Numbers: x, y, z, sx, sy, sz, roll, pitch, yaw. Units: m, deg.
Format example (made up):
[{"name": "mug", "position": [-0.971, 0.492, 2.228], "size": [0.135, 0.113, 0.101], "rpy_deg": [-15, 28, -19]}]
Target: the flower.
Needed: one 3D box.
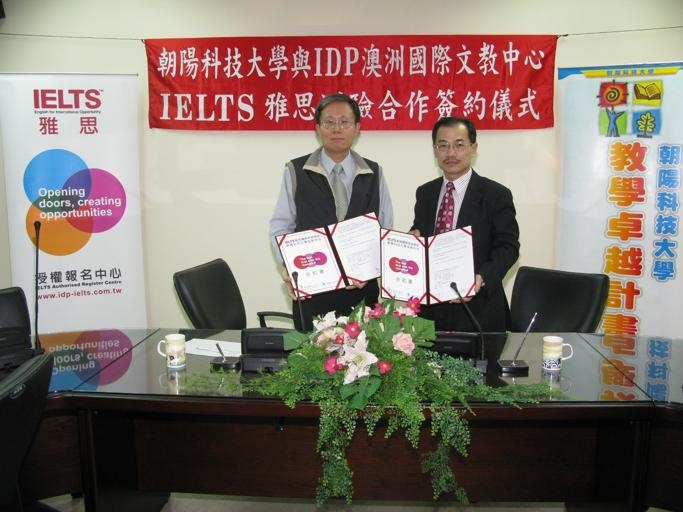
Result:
[{"name": "flower", "position": [0.140, 0.365, 2.198], "size": [1.086, 0.699, 0.736], "rpy_deg": [-2, 14, -32]}]

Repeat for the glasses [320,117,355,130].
[{"name": "glasses", "position": [-0.022, -0.755, 3.193], "size": [0.186, 0.056, 0.048], "rpy_deg": [-2, 14, -6]}]

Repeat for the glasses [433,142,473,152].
[{"name": "glasses", "position": [0.630, -0.620, 3.159], "size": [0.185, 0.054, 0.050], "rpy_deg": [3, 14, 11]}]

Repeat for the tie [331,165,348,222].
[{"name": "tie", "position": [-0.003, -0.373, 3.236], "size": [0.099, 0.310, 0.137], "rpy_deg": [-3, 14, -8]}]

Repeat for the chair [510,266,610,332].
[{"name": "chair", "position": [1.251, 0.266, 3.241], "size": [0.380, 0.534, 0.414], "rpy_deg": [3, -7, 20]}]

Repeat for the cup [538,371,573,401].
[{"name": "cup", "position": [0.850, 0.516, 2.204], "size": [0.111, 0.116, 0.068], "rpy_deg": [-1, 5, -1]}]
